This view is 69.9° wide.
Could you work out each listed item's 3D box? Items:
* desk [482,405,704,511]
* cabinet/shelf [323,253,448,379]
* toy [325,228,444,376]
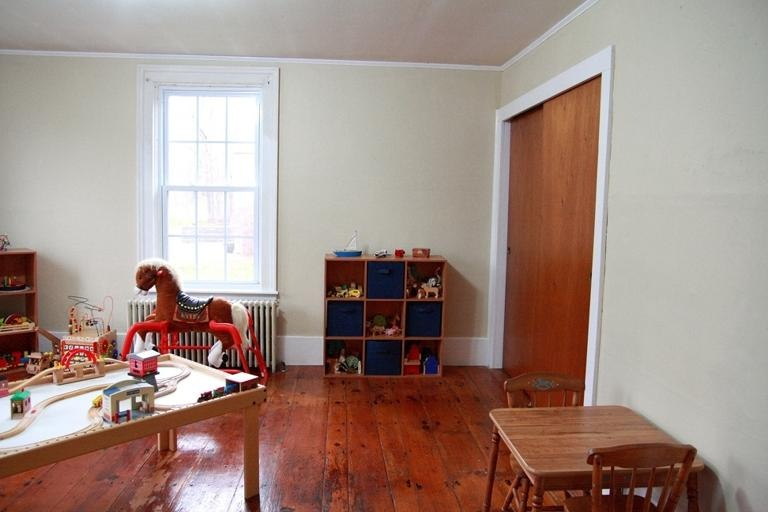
[{"bbox_3d":[1.135,1.089,3.251,0.894,0.699,0.729,-1,2,-4],"label":"desk"},{"bbox_3d":[-0.005,0.591,5.310,1.101,1.087,0.401,1,8,2],"label":"cabinet/shelf"},{"bbox_3d":[-0.013,0.455,5.334,1.358,1.380,0.505,0,3,-4],"label":"toy"}]
